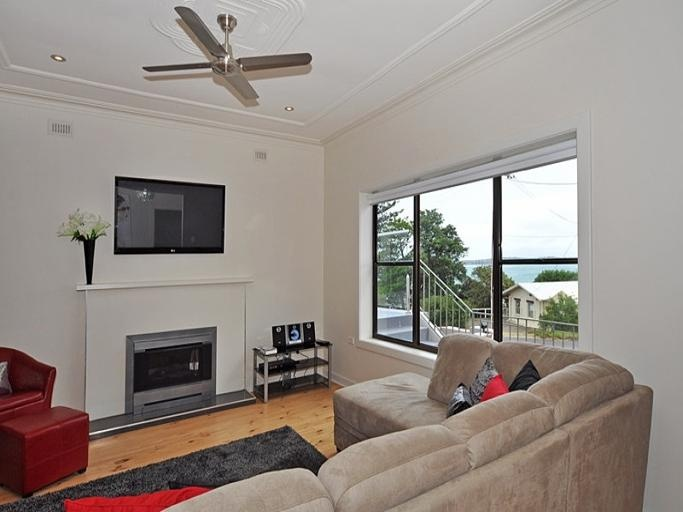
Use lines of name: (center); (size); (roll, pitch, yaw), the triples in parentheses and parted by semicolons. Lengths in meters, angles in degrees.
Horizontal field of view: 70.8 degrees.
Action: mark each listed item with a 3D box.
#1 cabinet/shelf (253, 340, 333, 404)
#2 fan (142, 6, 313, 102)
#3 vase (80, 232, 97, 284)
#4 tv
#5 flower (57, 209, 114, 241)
cabinet/shelf: (-0.576, 1.336, 5.668); (0.898, 0.563, 0.345); (-2, 4, -36)
fan: (-0.879, -1.557, 3.732); (1.163, 0.549, 1.486); (-2, 7, -10)
vase: (-2.499, 0.047, 4.767); (0.122, 0.457, 0.251); (-5, 9, -28)
tv: (-1.910, -0.436, 5.172); (0.814, 0.614, 0.029); (0, 2, -35)
flower: (-2.517, -0.244, 4.778); (0.320, 0.206, 0.362); (11, -13, -32)
